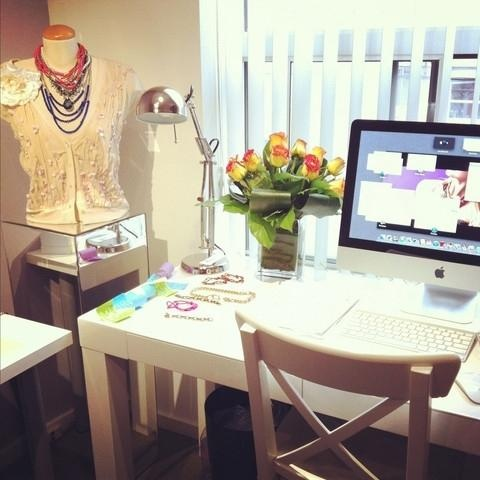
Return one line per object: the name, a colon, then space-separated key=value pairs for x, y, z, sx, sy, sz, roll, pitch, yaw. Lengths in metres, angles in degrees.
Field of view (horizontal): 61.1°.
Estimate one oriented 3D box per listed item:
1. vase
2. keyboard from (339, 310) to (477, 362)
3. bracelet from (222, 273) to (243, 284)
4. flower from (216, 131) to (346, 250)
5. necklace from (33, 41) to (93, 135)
vase: x=0.143 y=0.019 z=1.410 sx=0.158 sy=0.273 sz=0.169 roll=1 pitch=8 yaw=8
keyboard: x=0.392 y=0.226 z=0.970 sx=0.311 sy=0.033 sz=0.164 roll=10 pitch=18 yaw=25
bracelet: x=-0.024 y=0.130 z=1.396 sx=0.051 sy=0.013 sz=0.032 roll=11 pitch=21 yaw=29
flower: x=0.165 y=-0.153 z=1.414 sx=0.362 sy=0.435 sz=0.356 roll=-3 pitch=14 yaw=-37
necklace: x=-0.586 y=-0.507 z=1.363 sx=0.166 sy=0.289 sz=0.070 roll=-5 pitch=15 yaw=-24
